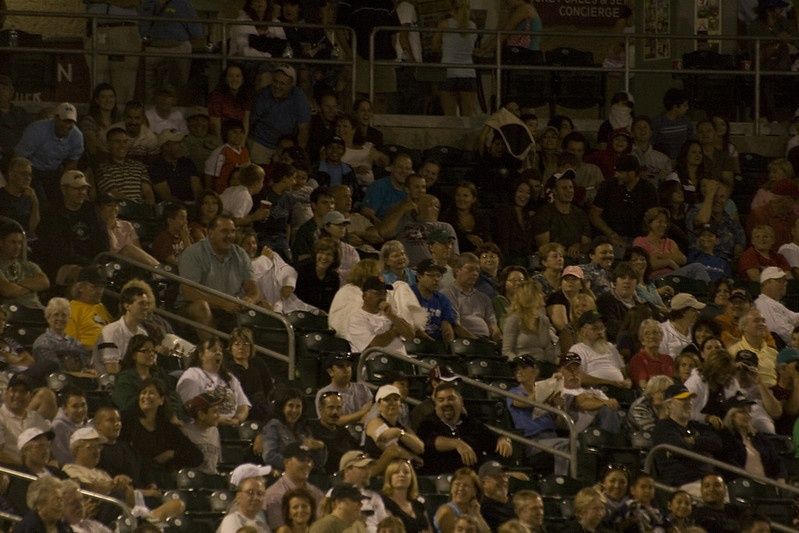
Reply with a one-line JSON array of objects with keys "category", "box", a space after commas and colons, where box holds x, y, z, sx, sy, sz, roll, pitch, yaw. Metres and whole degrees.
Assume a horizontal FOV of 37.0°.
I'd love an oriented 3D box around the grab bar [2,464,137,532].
[{"category": "grab bar", "box": [-2.858, 2.006, 10.333, 1.183, 0.466, 0.398, 4, 5, -2]}]
